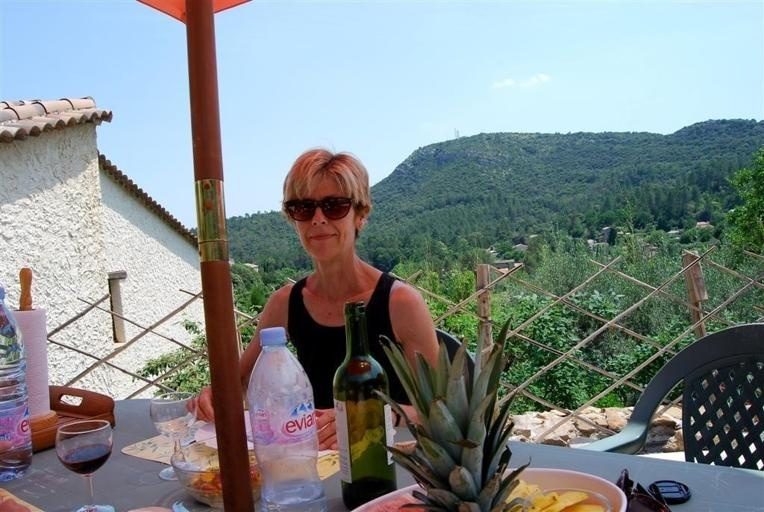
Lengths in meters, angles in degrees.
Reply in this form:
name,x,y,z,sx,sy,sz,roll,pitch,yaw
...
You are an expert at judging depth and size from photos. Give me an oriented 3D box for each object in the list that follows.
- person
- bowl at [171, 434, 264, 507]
name,x,y,z,sx,sy,sz,roll,pitch,yaw
person,-0.180,0.131,2.700,0.962,1.199,0.743,0,4,1
bowl,-0.554,0.594,1.792,0.329,0.152,0.327,-1,-10,0
